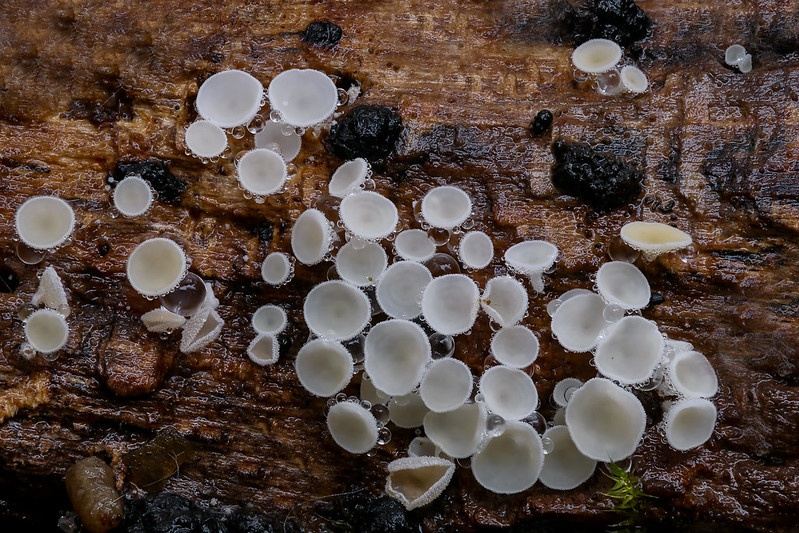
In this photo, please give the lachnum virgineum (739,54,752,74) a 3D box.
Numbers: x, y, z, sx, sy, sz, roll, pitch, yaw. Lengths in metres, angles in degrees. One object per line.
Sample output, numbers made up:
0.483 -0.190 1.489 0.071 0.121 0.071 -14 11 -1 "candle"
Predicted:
4.540 -2.658 10.866 0.174 0.222 0.059 23 4 8 "lachnum virgineum"
